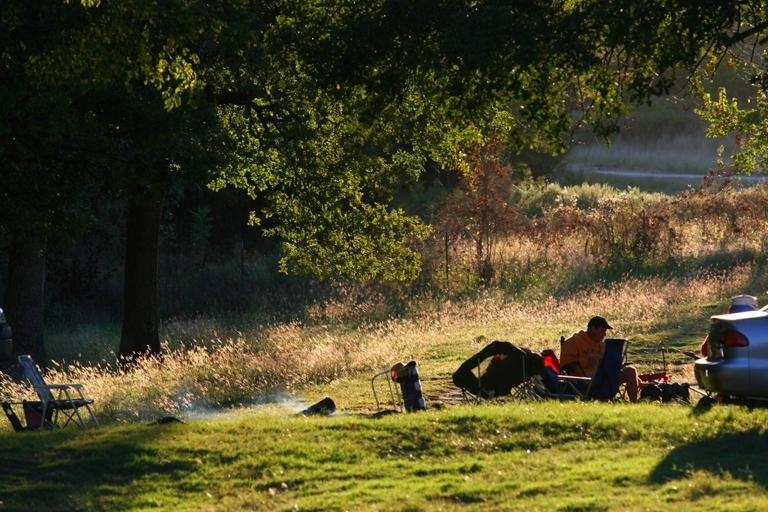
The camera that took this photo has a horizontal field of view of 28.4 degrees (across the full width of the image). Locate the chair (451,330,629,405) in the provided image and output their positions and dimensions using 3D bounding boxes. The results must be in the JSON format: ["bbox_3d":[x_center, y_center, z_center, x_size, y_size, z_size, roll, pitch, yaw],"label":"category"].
[{"bbox_3d":[3.816,2.598,36.253,3.022,1.279,1.851,-1,-2,16],"label":"chair"}]

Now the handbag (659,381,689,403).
[{"bbox_3d":[6.871,3.156,35.962,0.664,0.422,0.343,-1,12,9],"label":"handbag"}]

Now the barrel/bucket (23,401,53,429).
[{"bbox_3d":[-8.357,3.746,36.347,0.663,0.516,0.628,0,-4,0],"label":"barrel/bucket"}]

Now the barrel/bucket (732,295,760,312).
[{"bbox_3d":[8.838,1.112,37.155,0.621,0.489,0.441,-4,3,-9],"label":"barrel/bucket"}]

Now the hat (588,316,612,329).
[{"bbox_3d":[5.082,1.526,35.906,0.407,0.244,0.298,-1,0,-7],"label":"hat"}]

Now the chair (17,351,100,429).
[{"bbox_3d":[-8.041,3.227,37.072,2.150,2.079,1.592,-1,-4,2],"label":"chair"}]
